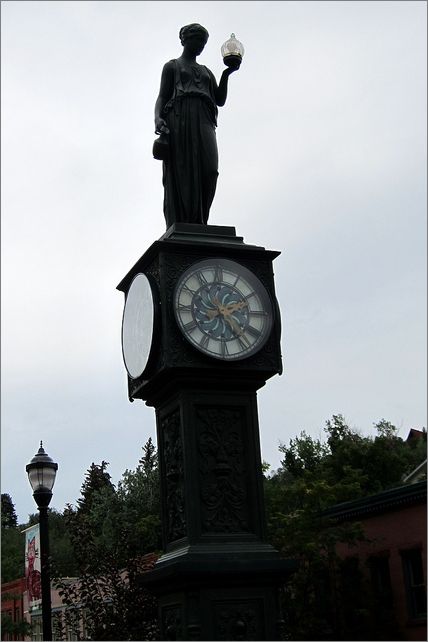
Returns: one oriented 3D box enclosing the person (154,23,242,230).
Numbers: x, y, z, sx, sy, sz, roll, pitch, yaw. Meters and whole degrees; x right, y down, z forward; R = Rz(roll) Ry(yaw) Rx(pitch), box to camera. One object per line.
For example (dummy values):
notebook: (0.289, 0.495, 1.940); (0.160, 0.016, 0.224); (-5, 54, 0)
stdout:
person: (-0.152, -1.745, 9.713); (0.785, 2.020, 0.689); (0, -12, 12)

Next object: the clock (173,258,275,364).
clock: (0.066, -0.056, 8.799); (0.750, 0.808, 0.049); (11, -32, -30)

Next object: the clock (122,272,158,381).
clock: (-0.634, 0.033, 9.241); (0.127, 0.909, 1.232); (5, -13, -12)
